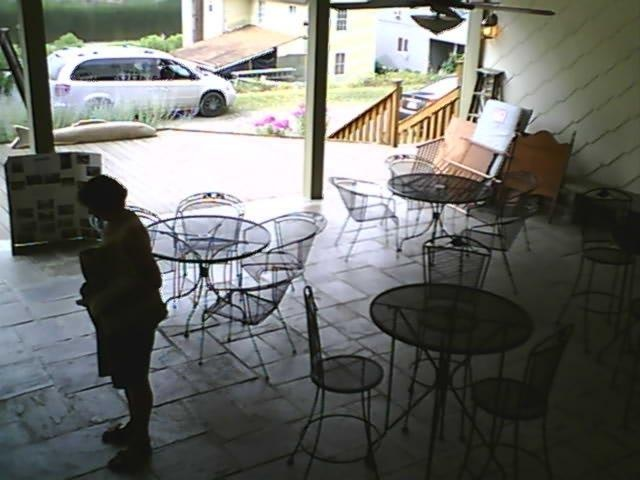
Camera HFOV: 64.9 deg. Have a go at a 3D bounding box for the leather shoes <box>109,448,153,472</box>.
[{"bbox_3d":[-1.277,1.482,3.428,0.257,0.130,0.136,1,21,-9],"label":"leather shoes"}]

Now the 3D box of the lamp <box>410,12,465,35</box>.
[{"bbox_3d":[1.261,-2.339,5.421,0.529,0.215,0.879,1,23,-3],"label":"lamp"}]

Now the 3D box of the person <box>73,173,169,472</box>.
[{"bbox_3d":[-1.222,0.581,3.202,0.486,1.933,0.557,-7,28,-20],"label":"person"}]
